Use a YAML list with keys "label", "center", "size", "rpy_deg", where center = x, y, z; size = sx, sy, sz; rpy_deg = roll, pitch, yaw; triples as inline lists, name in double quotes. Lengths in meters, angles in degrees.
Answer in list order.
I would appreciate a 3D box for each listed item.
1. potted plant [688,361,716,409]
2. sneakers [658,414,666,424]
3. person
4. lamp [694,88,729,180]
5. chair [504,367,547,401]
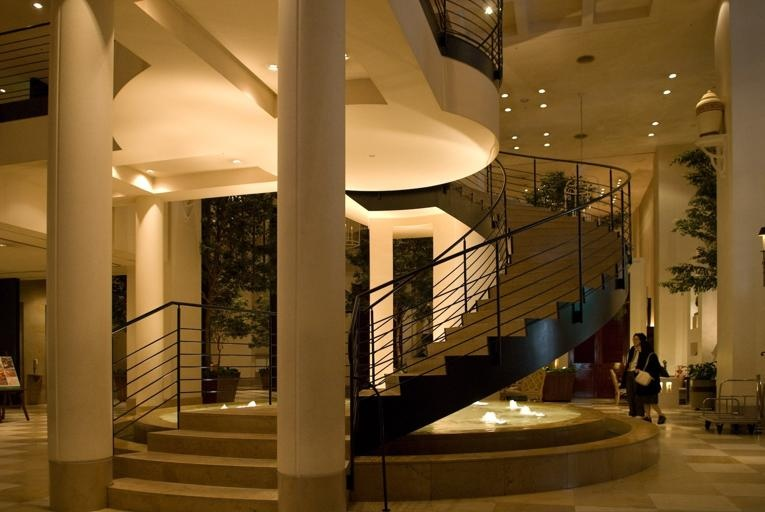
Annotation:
- label: "potted plant"
  center: [7.152, 2.894, 14.897]
  size: [0.681, 0.944, 0.628]
  rpy_deg: [-2, -9, 17]
- label: "sneakers"
  center: [4.953, 2.886, 11.831]
  size: [0.132, 0.176, 0.407]
  rpy_deg: [-17, -19, 20]
- label: "person"
  center: [4.425, 2.105, 11.415]
  size: [0.606, 1.581, 1.344]
  rpy_deg: [-4, -9, 21]
- label: "lamp"
  center: [6.484, -2.386, 13.219]
  size: [0.524, 1.681, 0.675]
  rpy_deg: [-5, -10, 29]
- label: "chair"
  center: [3.246, 2.964, 15.433]
  size: [0.970, 0.679, 1.157]
  rpy_deg: [-3, -9, 17]
